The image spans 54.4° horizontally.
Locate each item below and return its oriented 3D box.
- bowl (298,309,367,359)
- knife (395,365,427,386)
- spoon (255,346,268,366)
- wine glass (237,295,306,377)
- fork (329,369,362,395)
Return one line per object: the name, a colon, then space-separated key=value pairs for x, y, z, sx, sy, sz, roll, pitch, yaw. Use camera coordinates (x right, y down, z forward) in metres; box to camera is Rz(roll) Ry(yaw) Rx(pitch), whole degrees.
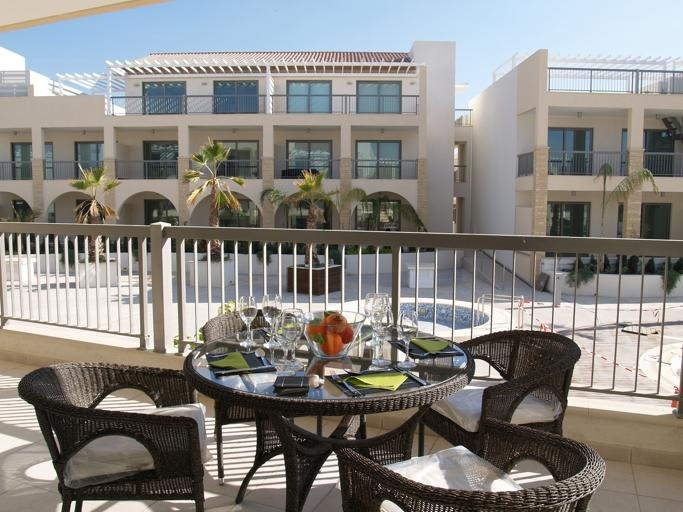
bowl: x=-0.069 y=0.511 z=4.417 sx=0.515 sy=0.297 sz=0.498 roll=1 pitch=7 yaw=0
knife: x=0.431 y=0.731 z=4.057 sx=0.061 sy=0.014 sz=0.359 roll=-22 pitch=11 yaw=-11
spoon: x=-0.514 y=0.653 z=4.318 sx=0.020 sy=0.078 sz=0.081 roll=-22 pitch=16 yaw=-21
wine glass: x=-0.449 y=0.492 z=4.307 sx=0.328 sy=0.511 sz=0.361 roll=-1 pitch=8 yaw=-24
fork: x=0.018 y=0.749 z=3.952 sx=0.092 sy=0.021 sz=0.156 roll=-10 pitch=22 yaw=-31
